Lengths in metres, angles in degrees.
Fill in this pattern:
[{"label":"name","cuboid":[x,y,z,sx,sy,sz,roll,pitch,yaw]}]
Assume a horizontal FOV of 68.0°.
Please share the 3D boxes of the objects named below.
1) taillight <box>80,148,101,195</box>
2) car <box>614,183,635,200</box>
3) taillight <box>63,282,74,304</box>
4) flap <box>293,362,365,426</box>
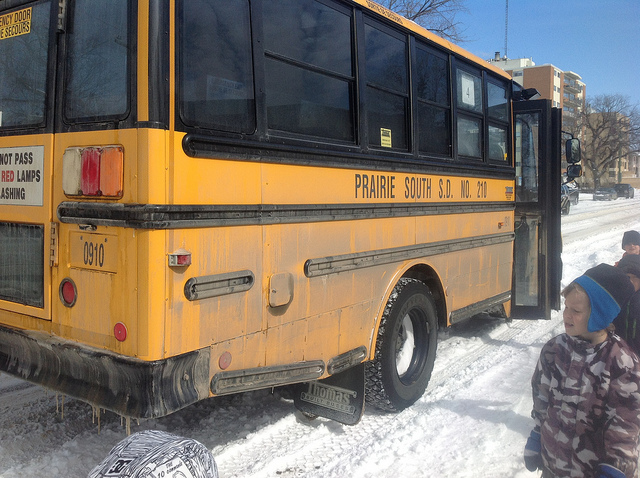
[{"label":"taillight","cuboid":[-1.535,-0.452,3.172,0.229,0.489,0.044,6,6,37]},{"label":"car","cuboid":[32.065,-4.719,49.811,1.643,1.608,3.104,3,8,32]},{"label":"taillight","cuboid":[-1.804,0.392,3.395,0.112,0.131,0.028,2,2,41]},{"label":"flap","cuboid":[0.093,1.369,4.237,0.601,0.754,0.102,0,-8,20]}]
